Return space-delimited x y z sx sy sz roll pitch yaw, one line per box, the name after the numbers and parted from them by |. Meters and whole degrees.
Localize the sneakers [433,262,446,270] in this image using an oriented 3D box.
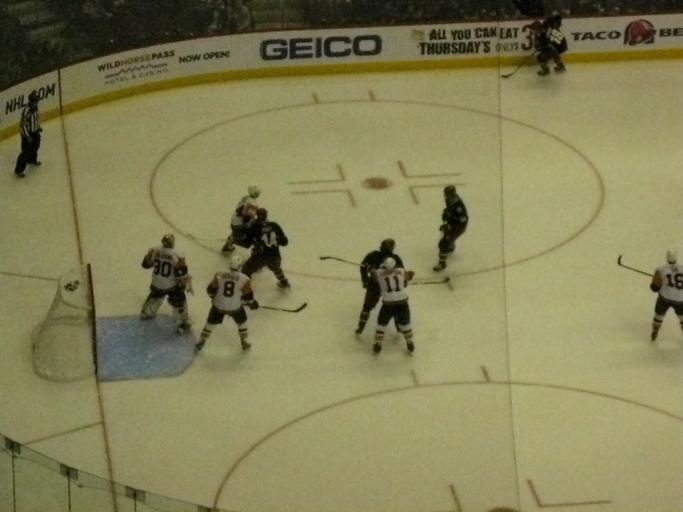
1.526 0.186 14.237 0.183 0.170 0.090 2 59 -16 | sneakers

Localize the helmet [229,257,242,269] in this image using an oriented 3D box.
-1.441 0.084 12.491 0.137 0.167 0.172 5 -29 -6 | helmet

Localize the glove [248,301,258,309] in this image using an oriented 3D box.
-1.229 0.701 12.730 0.102 0.111 0.159 9 -18 -9 | glove

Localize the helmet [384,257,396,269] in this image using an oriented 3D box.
0.662 0.093 12.610 0.165 0.165 0.279 -1 14 3 | helmet

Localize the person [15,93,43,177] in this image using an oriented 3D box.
-5.535 -2.136 16.014 0.541 1.441 0.590 -8 15 -19 | person

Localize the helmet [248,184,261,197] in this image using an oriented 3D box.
-1.349 -0.985 14.189 0.192 0.237 0.079 0 55 2 | helmet

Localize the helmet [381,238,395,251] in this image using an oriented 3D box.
0.667 -0.162 13.029 0.149 0.190 0.191 4 37 3 | helmet

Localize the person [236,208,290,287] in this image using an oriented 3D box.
-1.179 -0.072 13.782 0.802 1.313 0.485 -7 23 -18 | person

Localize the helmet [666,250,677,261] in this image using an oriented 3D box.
4.603 0.006 12.791 0.145 0.130 0.140 -1 24 1 | helmet

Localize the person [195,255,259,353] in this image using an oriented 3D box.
-1.582 0.663 12.777 0.756 1.415 0.496 6 21 -7 | person

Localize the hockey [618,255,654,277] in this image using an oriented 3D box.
4.503 0.187 14.027 0.549 0.310 0.792 2 14 16 | hockey

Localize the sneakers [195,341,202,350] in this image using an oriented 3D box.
-2.001 1.270 12.842 0.092 0.116 0.103 4 43 0 | sneakers

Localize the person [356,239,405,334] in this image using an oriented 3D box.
0.576 0.478 13.194 0.678 1.493 0.467 12 17 -2 | person

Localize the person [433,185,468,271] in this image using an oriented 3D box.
1.710 -0.452 14.368 0.524 1.292 0.749 -1 14 7 | person

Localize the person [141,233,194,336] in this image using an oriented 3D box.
-2.487 0.382 13.050 0.723 1.411 0.448 7 17 34 | person

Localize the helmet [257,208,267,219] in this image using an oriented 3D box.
-1.161 -0.641 13.547 0.125 0.155 0.159 7 33 8 | helmet

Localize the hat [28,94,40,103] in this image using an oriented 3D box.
-5.372 -2.762 15.909 0.152 0.178 0.255 -8 15 -21 | hat

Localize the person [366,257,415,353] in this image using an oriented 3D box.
0.722 0.690 12.796 0.593 1.415 0.380 -2 14 1 | person

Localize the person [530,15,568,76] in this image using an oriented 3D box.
4.256 -4.287 18.620 0.676 1.182 0.560 -1 14 6 | person

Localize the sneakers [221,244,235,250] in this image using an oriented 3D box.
-1.799 -0.111 14.458 0.201 0.066 0.138 -16 -23 -7 | sneakers

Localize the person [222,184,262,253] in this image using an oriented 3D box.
-1.498 -0.556 14.259 0.644 1.089 0.501 -6 23 -36 | person

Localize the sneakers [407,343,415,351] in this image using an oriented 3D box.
0.973 1.277 12.863 0.085 0.123 0.129 -2 40 4 | sneakers
